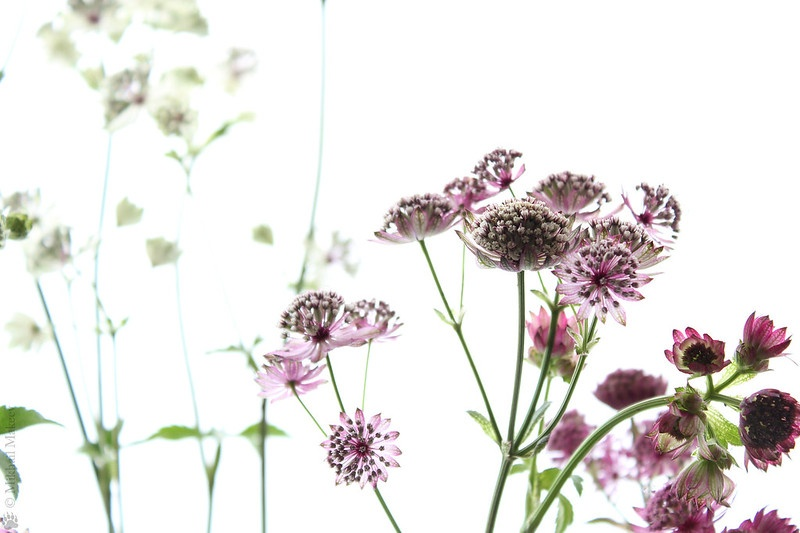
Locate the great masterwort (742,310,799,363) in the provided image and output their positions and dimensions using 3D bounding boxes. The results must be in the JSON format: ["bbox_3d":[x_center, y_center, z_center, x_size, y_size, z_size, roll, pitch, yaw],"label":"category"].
[{"bbox_3d":[0.422,0.081,1.009,0.063,0.046,0.045,1,-53,-7],"label":"great masterwort"}]

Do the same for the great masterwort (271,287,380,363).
[{"bbox_3d":[-0.104,0.066,1.096,0.121,0.121,0.086,-20,-67,-37],"label":"great masterwort"}]

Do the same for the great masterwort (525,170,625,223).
[{"bbox_3d":[0.218,-0.094,1.143,0.112,0.111,0.074,-3,-85,-50],"label":"great masterwort"}]

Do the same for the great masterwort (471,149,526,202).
[{"bbox_3d":[0.134,-0.111,1.158,0.048,0.054,0.101,-8,-93,17],"label":"great masterwort"}]

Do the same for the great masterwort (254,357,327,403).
[{"bbox_3d":[-0.138,0.144,1.120,0.090,0.044,0.061,-16,-54,5],"label":"great masterwort"}]

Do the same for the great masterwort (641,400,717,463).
[{"bbox_3d":[0.333,0.196,1.012,0.083,0.041,0.066,22,-59,-21],"label":"great masterwort"}]

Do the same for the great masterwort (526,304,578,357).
[{"bbox_3d":[0.217,0.072,1.169,0.073,0.070,0.058,-9,-89,-6],"label":"great masterwort"}]

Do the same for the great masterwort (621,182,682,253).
[{"bbox_3d":[0.327,-0.055,1.132,0.048,0.115,0.098,-19,-22,15],"label":"great masterwort"}]

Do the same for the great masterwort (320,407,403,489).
[{"bbox_3d":[-0.047,0.228,1.096,0.100,0.106,0.035,-10,-85,24],"label":"great masterwort"}]

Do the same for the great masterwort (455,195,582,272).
[{"bbox_3d":[0.166,-0.026,1.052,0.094,0.066,0.096,-9,-10,38],"label":"great masterwort"}]

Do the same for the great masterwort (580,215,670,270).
[{"bbox_3d":[0.260,-0.031,1.079,0.115,0.141,0.054,7,-100,13],"label":"great masterwort"}]

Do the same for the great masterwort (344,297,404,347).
[{"bbox_3d":[-0.039,0.080,1.125,0.082,0.093,0.050,7,-82,7],"label":"great masterwort"}]

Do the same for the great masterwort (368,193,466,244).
[{"bbox_3d":[0.025,-0.059,1.068,0.090,0.087,0.046,-18,-88,-4],"label":"great masterwort"}]

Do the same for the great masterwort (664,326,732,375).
[{"bbox_3d":[0.345,0.096,1.018,0.072,0.061,0.049,4,-53,-9],"label":"great masterwort"}]
